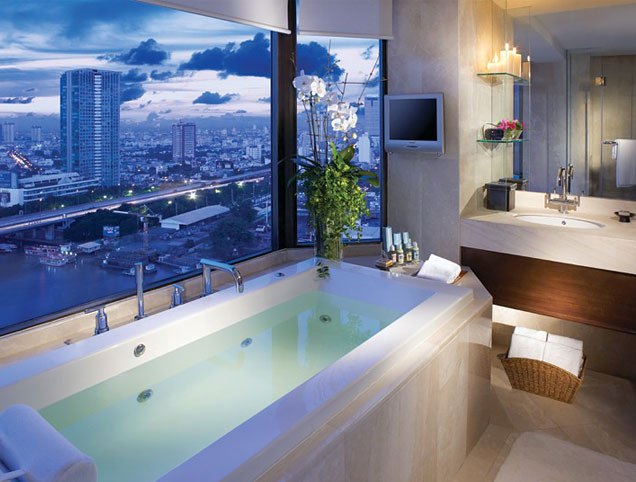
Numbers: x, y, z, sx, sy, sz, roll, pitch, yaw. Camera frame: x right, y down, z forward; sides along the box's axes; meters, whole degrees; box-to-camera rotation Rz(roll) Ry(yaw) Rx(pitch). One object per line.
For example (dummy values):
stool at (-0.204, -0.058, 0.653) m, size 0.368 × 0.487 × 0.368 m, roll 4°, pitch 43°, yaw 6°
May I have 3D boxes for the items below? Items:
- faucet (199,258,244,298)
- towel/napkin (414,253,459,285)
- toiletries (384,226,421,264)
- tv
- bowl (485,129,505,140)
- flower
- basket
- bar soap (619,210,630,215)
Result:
faucet at (-0.564, 0.194, 2.599) m, size 0.326 × 0.221 × 0.153 m, roll 5°, pitch 10°, yaw 28°
towel/napkin at (0.762, 0.185, 2.939) m, size 0.180 × 0.198 × 0.072 m, roll 21°, pitch -21°, yaw 28°
toiletries at (0.590, 0.027, 3.358) m, size 0.233 × 0.338 × 0.238 m, roll -2°, pitch -1°, yaw 40°
tv at (0.728, -0.888, 3.435) m, size 0.410 × 0.400 × 0.144 m, roll 5°, pitch 10°, yaw 38°
bowl at (1.328, -0.800, 3.497) m, size 0.099 × 0.071 × 0.096 m, roll -1°, pitch 8°, yaw 0°
flower at (0.094, -0.540, 3.315) m, size 0.498 × 1.240 × 0.614 m, roll -3°, pitch 13°, yaw -3°
basket at (1.471, 0.861, 3.072) m, size 0.396 × 0.212 × 0.305 m, roll 3°, pitch 3°, yaw 36°
bar soap at (2.090, -0.196, 3.163) m, size 0.066 × 0.021 × 0.127 m, roll 4°, pitch 15°, yaw 24°
